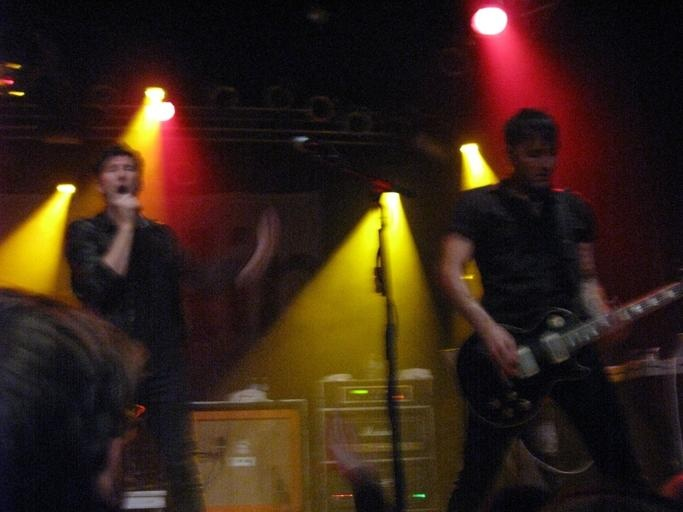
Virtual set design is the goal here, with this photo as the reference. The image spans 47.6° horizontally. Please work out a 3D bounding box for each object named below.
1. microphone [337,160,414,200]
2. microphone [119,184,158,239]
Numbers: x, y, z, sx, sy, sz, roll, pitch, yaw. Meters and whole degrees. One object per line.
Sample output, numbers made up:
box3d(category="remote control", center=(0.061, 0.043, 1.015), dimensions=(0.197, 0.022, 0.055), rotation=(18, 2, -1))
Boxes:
box3d(category="microphone", center=(0.163, -0.351, 3.605), dimensions=(0.352, 0.168, 0.178), rotation=(-1, -18, 3))
box3d(category="microphone", center=(-0.959, -0.239, 3.626), dimensions=(0.179, 0.181, 0.155), rotation=(2, 9, 26))
